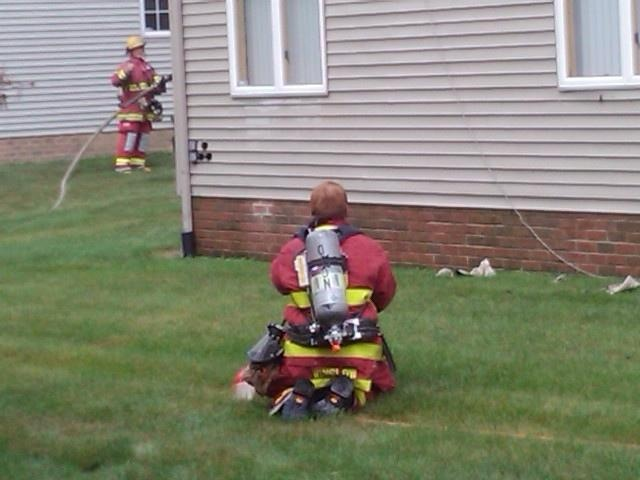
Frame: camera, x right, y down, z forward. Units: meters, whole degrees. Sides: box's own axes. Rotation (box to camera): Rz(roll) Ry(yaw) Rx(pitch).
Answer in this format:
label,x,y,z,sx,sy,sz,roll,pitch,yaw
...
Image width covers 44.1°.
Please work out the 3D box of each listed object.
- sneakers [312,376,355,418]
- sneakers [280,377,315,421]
label,x,y,z,sx,sy,sz,roll,pitch,yaw
sneakers,0.102,1.129,5.565,0.329,0.204,0.095,-47,4,9
sneakers,-0.138,1.122,5.528,0.184,0.304,0.096,37,5,6
